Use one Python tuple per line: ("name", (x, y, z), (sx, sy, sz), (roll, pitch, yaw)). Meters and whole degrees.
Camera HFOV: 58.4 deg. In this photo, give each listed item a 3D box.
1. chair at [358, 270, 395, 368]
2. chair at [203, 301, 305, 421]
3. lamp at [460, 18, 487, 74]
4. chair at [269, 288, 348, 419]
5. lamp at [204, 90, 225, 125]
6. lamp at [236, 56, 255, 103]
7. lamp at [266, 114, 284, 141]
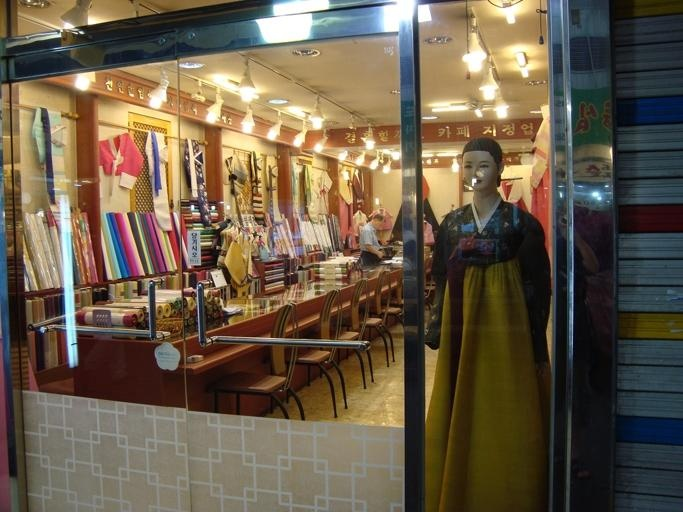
("chair", (0.116, 0.321, 2.940), (0.218, 0.376, 0.208), (-13, -6, 11))
("chair", (-0.416, 0.591, 3.080), (0.411, 0.730, 0.406), (1, -2, 18))
("lamp", (0.589, -0.936, 2.702), (0.104, 0.233, 0.046), (-2, 2, 9))
("chair", (-0.197, 0.504, 3.062), (0.343, 0.596, 0.329), (-3, -10, -15))
("lamp", (-0.641, -0.759, 3.085), (0.060, 0.141, 0.169), (-4, 3, -34))
("lamp", (-0.467, -0.856, 2.968), (0.086, 0.198, 0.070), (-2, 3, 6))
("lamp", (-0.324, -0.644, 3.010), (0.062, 0.119, 0.074), (30, 14, -3))
